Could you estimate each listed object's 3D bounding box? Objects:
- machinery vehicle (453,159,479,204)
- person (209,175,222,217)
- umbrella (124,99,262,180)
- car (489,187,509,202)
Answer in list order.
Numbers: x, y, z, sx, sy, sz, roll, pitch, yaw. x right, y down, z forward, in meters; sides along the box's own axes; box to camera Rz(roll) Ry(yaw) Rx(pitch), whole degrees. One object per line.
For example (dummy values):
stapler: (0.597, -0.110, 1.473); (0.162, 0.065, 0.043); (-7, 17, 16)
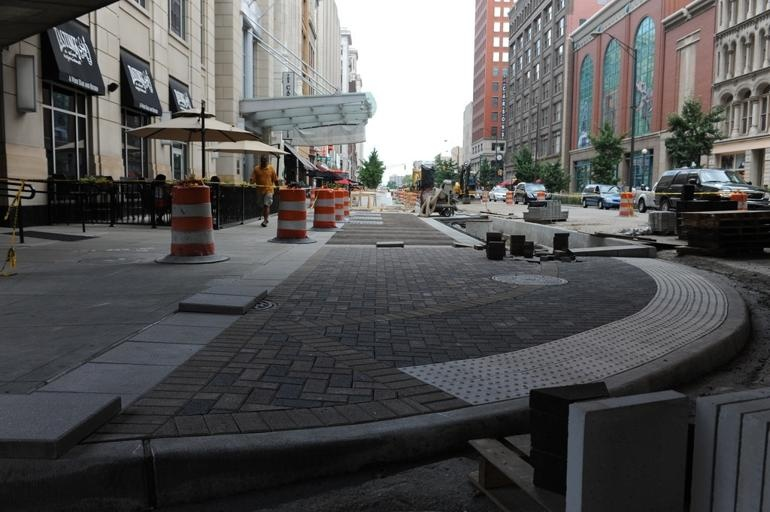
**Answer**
machinery vehicle: (8.645, -7.073, 56.834); (2.218, 4.001, 1.237); (11, 21, 38)
person: (-4.960, -1.662, 16.773); (0.264, 1.034, 0.638); (-2, 10, -18)
umbrella: (-5.940, -3.703, 17.709); (3.037, 2.274, 2.630); (6, 10, 23)
car: (11.776, -6.457, 58.954); (1.536, 1.071, 3.297); (-1, 2, -11)
